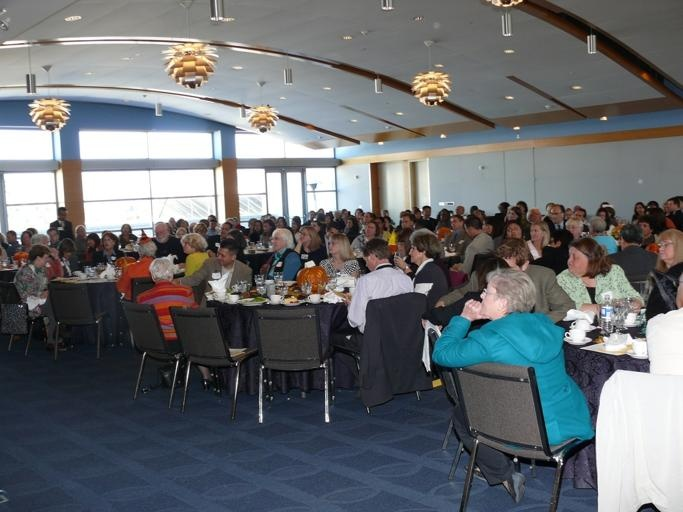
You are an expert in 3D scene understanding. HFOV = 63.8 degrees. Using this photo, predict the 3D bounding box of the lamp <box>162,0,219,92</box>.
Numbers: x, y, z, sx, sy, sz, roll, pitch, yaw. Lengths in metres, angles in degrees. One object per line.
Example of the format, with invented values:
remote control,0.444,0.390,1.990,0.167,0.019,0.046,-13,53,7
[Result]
lamp,-2.484,-3.202,9.022,0.733,1.003,1.471,-5,8,-13

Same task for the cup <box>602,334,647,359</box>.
cup,1.734,0.533,3.368,0.226,0.103,0.256,1,8,23

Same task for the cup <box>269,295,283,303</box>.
cup,-0.630,0.414,5.320,0.101,0.057,0.075,3,-6,-34

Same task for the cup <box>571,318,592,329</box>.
cup,1.665,0.465,3.805,0.097,0.062,0.121,0,-6,0

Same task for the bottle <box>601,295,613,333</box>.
bottle,1.864,0.397,3.856,0.074,0.244,0.324,1,9,25

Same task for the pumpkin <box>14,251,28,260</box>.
pumpkin,-5.444,-0.010,9.322,0.188,0.116,0.236,-4,-1,-18

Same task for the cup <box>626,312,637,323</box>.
cup,2.040,0.434,3.893,0.078,0.053,0.072,-2,-5,0

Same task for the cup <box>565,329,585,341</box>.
cup,1.510,0.515,3.571,0.096,0.046,0.079,-5,-2,35

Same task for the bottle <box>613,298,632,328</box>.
bottle,1.911,0.390,3.755,0.090,0.238,0.212,1,9,26

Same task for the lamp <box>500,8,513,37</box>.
lamp,2.223,-3.145,7.405,0.096,0.316,0.481,-1,8,14

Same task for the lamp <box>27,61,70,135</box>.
lamp,-6.392,-3.613,12.072,0.827,1.079,0.794,17,27,33

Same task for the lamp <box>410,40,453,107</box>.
lamp,1.695,-3.562,10.523,0.748,1.160,0.751,-3,3,28

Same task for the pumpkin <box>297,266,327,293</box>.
pumpkin,-0.302,0.237,5.490,0.279,0.224,0.263,-1,-8,14

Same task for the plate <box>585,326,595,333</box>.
plate,1.755,0.510,3.887,0.067,0.012,0.063,-8,6,-18
